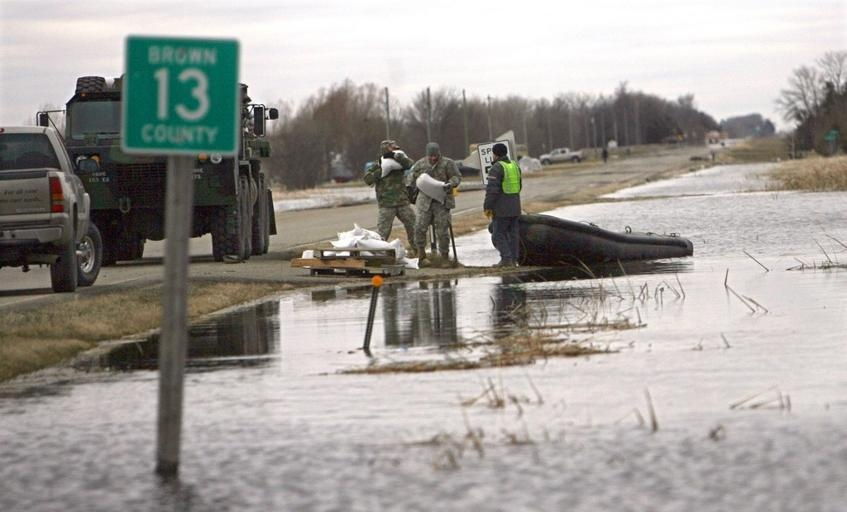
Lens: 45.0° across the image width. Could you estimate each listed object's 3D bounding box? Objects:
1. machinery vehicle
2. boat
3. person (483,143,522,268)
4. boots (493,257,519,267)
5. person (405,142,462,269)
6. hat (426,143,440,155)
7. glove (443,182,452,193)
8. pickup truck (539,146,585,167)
[{"bbox_3d":[-5.206,-2.284,23.413,4.112,3.328,6.738,2,13,1],"label":"machinery vehicle"},{"bbox_3d":[3.286,-0.229,19.699,2.651,0.701,1.311,-1,1,-27],"label":"boat"},{"bbox_3d":[1.448,-0.931,19.035,0.637,2.307,0.930,-1,10,5],"label":"person"},{"bbox_3d":[1.519,0.127,19.096,0.488,0.204,0.164,2,3,-6],"label":"boots"},{"bbox_3d":[0.184,-0.977,19.810,0.960,2.363,1.216,-1,10,2],"label":"person"},{"bbox_3d":[0.156,-2.036,19.653,0.273,0.279,0.364,0,9,-1],"label":"hat"},{"bbox_3d":[0.437,-1.272,19.267,0.171,0.195,0.262,-1,10,1],"label":"glove"},{"bbox_3d":[13.294,-9.690,100.785,3.886,1.459,2.082,3,5,15],"label":"pickup truck"}]
